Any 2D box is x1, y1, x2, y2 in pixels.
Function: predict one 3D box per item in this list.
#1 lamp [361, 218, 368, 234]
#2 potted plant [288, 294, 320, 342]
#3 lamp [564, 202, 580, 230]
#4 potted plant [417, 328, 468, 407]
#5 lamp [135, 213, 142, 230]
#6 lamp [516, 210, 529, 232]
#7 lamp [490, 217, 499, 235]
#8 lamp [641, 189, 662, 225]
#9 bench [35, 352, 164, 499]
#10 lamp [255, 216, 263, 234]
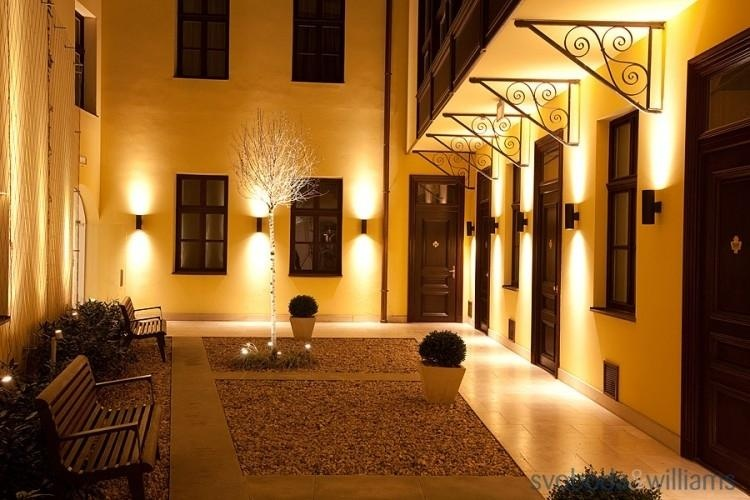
[{"bbox_3d":[-0.267,-0.559,13.677,0.177,0.376,0.075,0,0,-14],"label":"lamp"},{"bbox_3d":[-1.440,1.382,11.241,0.738,1.040,0.746,1,-3,-3],"label":"potted plant"},{"bbox_3d":[2.893,-0.505,8.326,0.201,0.384,0.124,0,0,19],"label":"lamp"},{"bbox_3d":[0.766,1.612,7.752,0.881,1.183,0.802,1,-2,-2],"label":"potted plant"},{"bbox_3d":[-5.464,-0.646,13.092,0.161,0.342,0.086,0,0,-14],"label":"lamp"},{"bbox_3d":[2.689,-0.510,10.252,0.102,0.356,0.303,0,0,-26],"label":"lamp"},{"bbox_3d":[2.476,-0.514,11.751,0.150,0.360,0.198,0,0,2],"label":"lamp"},{"bbox_3d":[3.158,-0.498,6.552,0.127,0.388,0.296,0,0,-13],"label":"lamp"},{"bbox_3d":[-2.522,1.638,5.135,0.449,0.528,1.052,-2,9,-9],"label":"bench"},{"bbox_3d":[-2.729,-0.598,13.371,0.153,0.367,0.061,0,0,-18],"label":"lamp"}]
